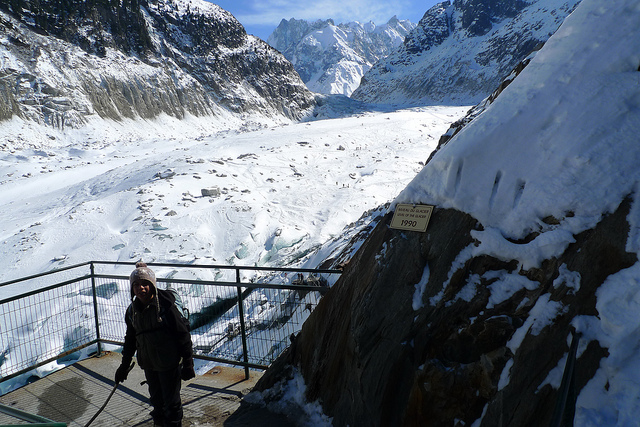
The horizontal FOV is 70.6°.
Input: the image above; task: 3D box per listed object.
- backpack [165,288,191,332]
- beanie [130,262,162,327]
[{"bbox_3d":[-1.538,1.057,4.825,0.274,0.506,0.493,4,32,-19],"label":"backpack"},{"bbox_3d":[-1.835,0.819,4.702,0.266,0.612,0.670,-2,34,-27],"label":"beanie"}]
